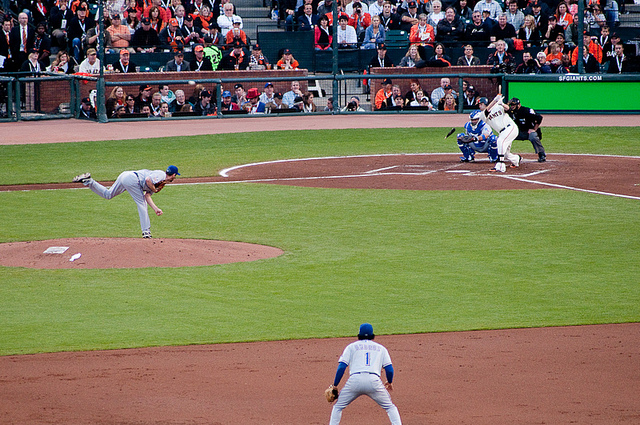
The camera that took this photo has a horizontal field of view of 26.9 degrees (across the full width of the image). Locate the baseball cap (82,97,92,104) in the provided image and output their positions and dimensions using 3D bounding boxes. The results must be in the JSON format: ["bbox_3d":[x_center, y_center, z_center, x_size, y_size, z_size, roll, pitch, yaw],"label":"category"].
[{"bbox_3d":[-7.842,-3.873,45.899,0.304,0.217,0.287,0,5,8],"label":"baseball cap"}]

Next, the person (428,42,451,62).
[{"bbox_3d":[4.382,-5.813,48.266,0.930,0.692,0.488,1,-22,-5],"label":"person"}]

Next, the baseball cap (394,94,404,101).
[{"bbox_3d":[2.906,-4.154,47.944,0.278,0.064,0.267,6,22,14],"label":"baseball cap"}]

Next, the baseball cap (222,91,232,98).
[{"bbox_3d":[-3.153,-4.190,47.009,0.283,0.221,0.334,-1,5,-3],"label":"baseball cap"}]

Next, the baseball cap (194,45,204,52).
[{"bbox_3d":[-4.121,-5.802,46.887,0.309,0.245,0.259,-1,5,0],"label":"baseball cap"}]

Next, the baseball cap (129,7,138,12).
[{"bbox_3d":[-6.557,-7.351,48.018,0.237,0.186,0.510,-1,5,-3],"label":"baseball cap"}]

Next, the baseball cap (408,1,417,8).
[{"bbox_3d":[3.576,-7.903,50.296,0.327,0.272,0.593,-1,5,2],"label":"baseball cap"}]

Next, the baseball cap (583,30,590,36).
[{"bbox_3d":[9.857,-6.662,49.229,0.292,0.181,0.273,2,7,0],"label":"baseball cap"}]

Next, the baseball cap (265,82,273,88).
[{"bbox_3d":[-1.671,-4.486,46.618,0.211,0.174,0.328,-2,5,-13],"label":"baseball cap"}]

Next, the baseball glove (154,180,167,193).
[{"bbox_3d":[-3.628,-0.661,31.025,0.257,0.261,0.204,37,16,15],"label":"baseball glove"}]

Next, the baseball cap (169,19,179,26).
[{"bbox_3d":[-5.094,-6.836,47.671,0.268,0.239,0.313,1,6,18],"label":"baseball cap"}]

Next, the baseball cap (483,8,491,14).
[{"bbox_3d":[6.323,-7.653,50.196,0.260,0.209,0.433,1,5,14],"label":"baseball cap"}]

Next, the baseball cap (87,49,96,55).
[{"bbox_3d":[-7.541,-5.469,45.111,0.269,0.175,0.232,-2,5,-12],"label":"baseball cap"}]

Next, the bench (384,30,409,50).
[{"bbox_3d":[3.020,-6.345,49.980,1.039,1.039,0.871,1,23,2],"label":"bench"}]

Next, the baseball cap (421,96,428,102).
[{"bbox_3d":[3.815,-4.090,47.785,0.221,0.201,0.215,0,6,4],"label":"baseball cap"}]

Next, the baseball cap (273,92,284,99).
[{"bbox_3d":[-1.365,-4.209,47.731,0.290,0.227,0.285,-1,5,0],"label":"baseball cap"}]

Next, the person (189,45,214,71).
[{"bbox_3d":[-4.079,-5.496,47.025,0.786,0.884,0.445,2,6,23],"label":"person"}]

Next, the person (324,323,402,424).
[{"bbox_3d":[0.834,2.987,24.382,1.295,1.831,0.332,-1,6,0],"label":"person"}]

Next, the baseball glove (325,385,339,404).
[{"bbox_3d":[0.263,3.325,24.388,0.257,0.284,0.301,8,19,-4],"label":"baseball glove"}]

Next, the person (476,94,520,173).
[{"bbox_3d":[5.091,-2.214,37.445,1.048,2.204,1.464,0,6,8],"label":"person"}]

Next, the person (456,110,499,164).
[{"bbox_3d":[4.488,-2.173,38.112,1.279,1.377,1.585,4,14,23],"label":"person"}]

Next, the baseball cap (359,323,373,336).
[{"bbox_3d":[0.882,2.159,24.466,0.228,0.197,0.272,-1,5,-1],"label":"baseball cap"}]
